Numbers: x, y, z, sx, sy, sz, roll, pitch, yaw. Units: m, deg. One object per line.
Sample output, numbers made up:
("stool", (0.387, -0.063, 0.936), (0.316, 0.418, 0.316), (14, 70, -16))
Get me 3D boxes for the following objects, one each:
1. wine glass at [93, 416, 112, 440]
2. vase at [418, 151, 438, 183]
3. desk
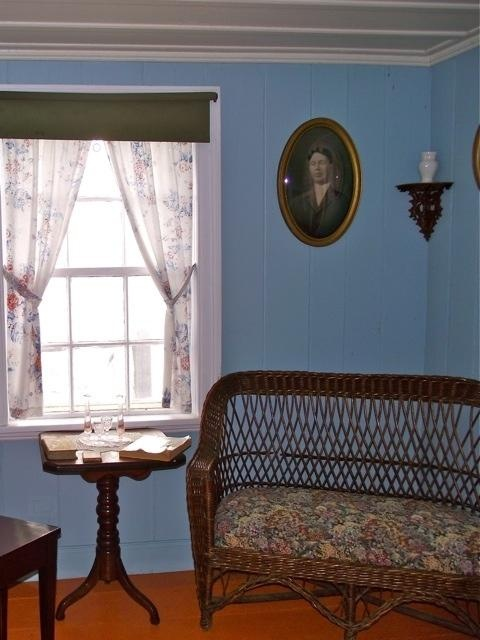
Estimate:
("wine glass", (-0.583, 0.474, 2.960), (0.075, 0.132, 0.085), (1, -4, 0))
("vase", (0.941, -0.752, 3.383), (0.111, 0.142, 0.081), (-3, 6, -33))
("desk", (-0.545, 0.798, 3.060), (0.682, 0.785, 0.687), (1, 12, -9))
